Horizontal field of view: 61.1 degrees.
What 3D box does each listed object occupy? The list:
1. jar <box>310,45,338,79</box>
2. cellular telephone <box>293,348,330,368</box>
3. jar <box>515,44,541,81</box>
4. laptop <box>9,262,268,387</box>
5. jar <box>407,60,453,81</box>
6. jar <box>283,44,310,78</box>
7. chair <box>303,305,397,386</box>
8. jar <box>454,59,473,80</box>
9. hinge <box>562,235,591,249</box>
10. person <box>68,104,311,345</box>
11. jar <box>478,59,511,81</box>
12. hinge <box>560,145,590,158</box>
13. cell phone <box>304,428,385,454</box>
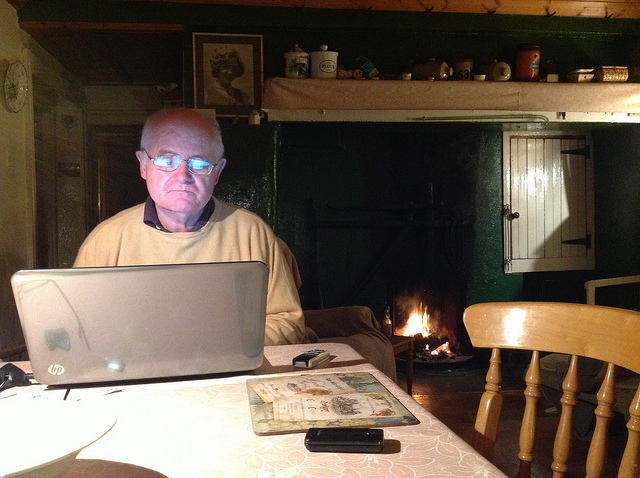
[{"bbox_3d":[0.004,-1.425,4.415,0.252,0.269,0.245,2,14,-1],"label":"jar"},{"bbox_3d":[-0.022,0.386,1.782,0.070,0.033,0.148,7,12,29],"label":"cellular telephone"},{"bbox_3d":[1.802,-1.523,4.731,0.210,0.316,0.218,-3,21,1],"label":"jar"},{"bbox_3d":[-0.529,0.165,1.757,0.689,0.403,0.475,-2,25,-13],"label":"laptop"},{"bbox_3d":[0.937,-1.396,4.547,0.356,0.170,0.223,1,11,3],"label":"jar"},{"bbox_3d":[-0.188,-1.385,4.297,0.245,0.296,0.240,0,12,0],"label":"jar"},{"bbox_3d":[0.241,0.751,4.019,0.678,0.464,0.722,-3,18,-14],"label":"chair"},{"bbox_3d":[1.213,-1.429,4.614,0.182,0.192,0.177,-1,8,0],"label":"jar"},{"bbox_3d":[2.617,0.033,5.572,0.272,0.114,0.007,0,-4,-6],"label":"hinge"},{"bbox_3d":[-0.634,-0.031,2.424,1.242,1.009,0.683,4,5,-14],"label":"person"},{"bbox_3d":[1.452,-1.443,4.671,0.213,0.194,0.303,-4,12,-23],"label":"jar"},{"bbox_3d":[2.577,-0.886,5.460,0.306,0.107,0.026,0,5,-9],"label":"hinge"},{"bbox_3d":[0.054,0.471,1.276,0.126,0.028,0.074,1,5,4],"label":"cell phone"}]
